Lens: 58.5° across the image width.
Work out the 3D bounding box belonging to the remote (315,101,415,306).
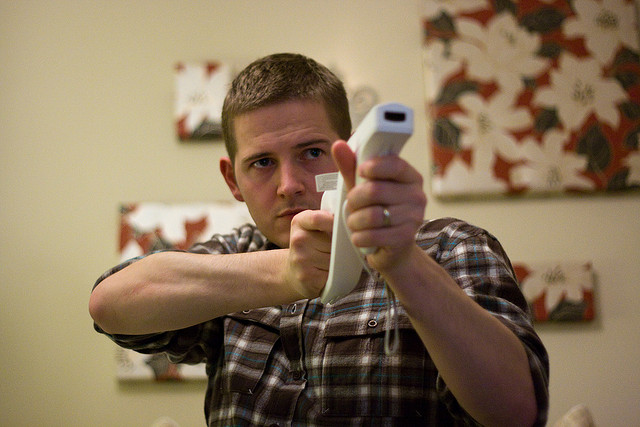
[{"bbox_3d":[0.111,-0.111,1.498,0.096,0.354,0.444,-1,9,-15],"label":"remote"}]
